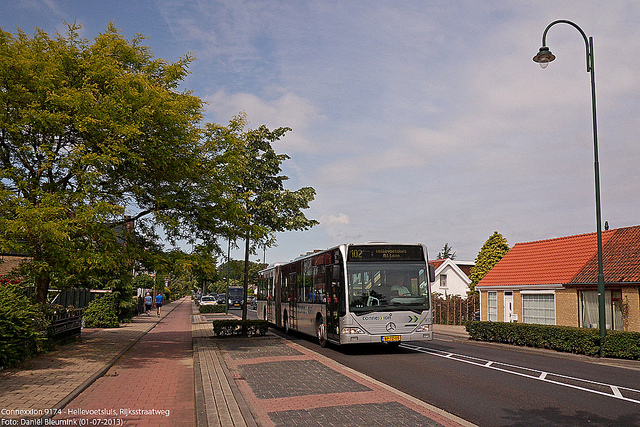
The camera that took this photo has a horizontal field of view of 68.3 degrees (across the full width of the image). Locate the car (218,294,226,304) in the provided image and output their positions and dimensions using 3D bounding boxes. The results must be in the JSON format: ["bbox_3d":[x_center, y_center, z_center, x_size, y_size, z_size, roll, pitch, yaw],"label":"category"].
[{"bbox_3d":[-14.235,12.453,68.547,1.286,1.220,3.885,1,-14,-21],"label":"car"}]

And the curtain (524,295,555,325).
[{"bbox_3d":[13.752,6.019,29.414,0.053,1.349,1.918,12,-13,-17],"label":"curtain"}]

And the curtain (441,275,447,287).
[{"bbox_3d":[15.204,8.224,57.722,0.978,1.417,0.297,9,-16,-30],"label":"curtain"}]

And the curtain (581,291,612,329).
[{"bbox_3d":[15.221,5.281,26.006,0.404,2.096,1.850,3,-14,-10],"label":"curtain"}]

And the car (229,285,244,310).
[{"bbox_3d":[-10.848,10.794,60.734,1.703,3.260,4.190,4,-15,-11],"label":"car"}]
